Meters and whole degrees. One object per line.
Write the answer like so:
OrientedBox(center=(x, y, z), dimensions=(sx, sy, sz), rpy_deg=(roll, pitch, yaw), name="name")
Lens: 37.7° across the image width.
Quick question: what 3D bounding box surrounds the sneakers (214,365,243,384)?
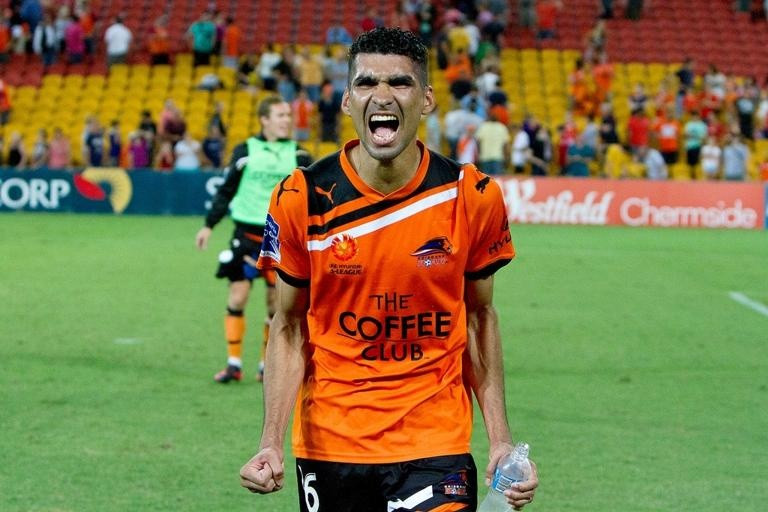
OrientedBox(center=(-2.001, 1.534, 14.467), dimensions=(0.343, 0.249, 0.184), rpy_deg=(4, -5, -2), name="sneakers")
